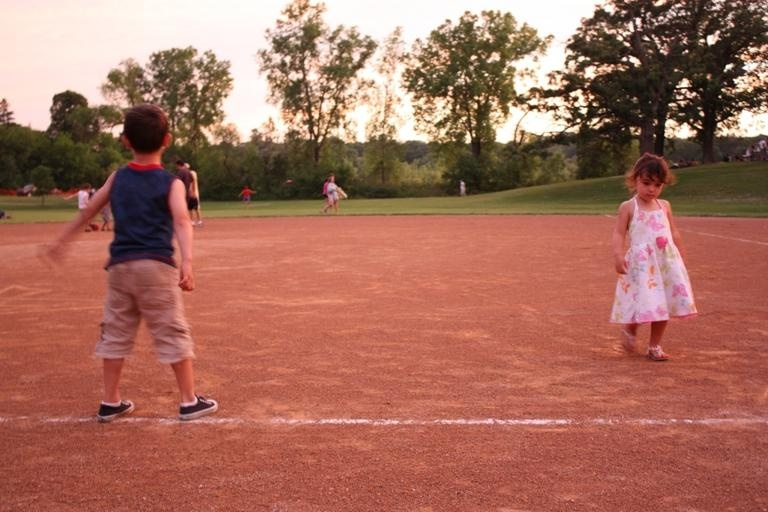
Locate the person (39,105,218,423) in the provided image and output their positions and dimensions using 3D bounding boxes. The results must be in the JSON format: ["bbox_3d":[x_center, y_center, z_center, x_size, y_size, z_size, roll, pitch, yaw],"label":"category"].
[{"bbox_3d":[-1.945,0.025,5.639,1.186,2.541,0.501,1,5,-6],"label":"person"}]

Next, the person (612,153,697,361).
[{"bbox_3d":[2.680,-0.019,6.866,0.764,2.014,0.534,3,5,18],"label":"person"}]

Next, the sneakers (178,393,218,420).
[{"bbox_3d":[-1.499,1.229,5.665,0.135,0.136,0.340,3,5,39],"label":"sneakers"}]

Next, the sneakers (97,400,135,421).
[{"bbox_3d":[-2.172,1.239,5.651,0.117,0.115,0.314,2,5,33],"label":"sneakers"}]
